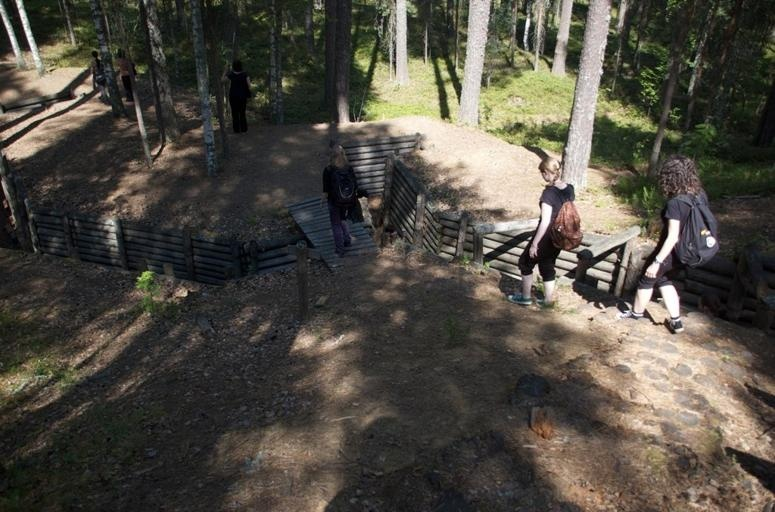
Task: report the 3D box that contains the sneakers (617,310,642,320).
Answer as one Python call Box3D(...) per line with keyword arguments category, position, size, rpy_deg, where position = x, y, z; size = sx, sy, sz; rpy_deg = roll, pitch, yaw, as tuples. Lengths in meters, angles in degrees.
Box3D(category="sneakers", position=(5.369, 1.299, 12.197), size=(0.543, 0.217, 0.213), rpy_deg=(-1, 21, 17))

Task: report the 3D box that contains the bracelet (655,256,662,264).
Box3D(category="bracelet", position=(5.524, 0.091, 11.135), size=(0.132, 0.074, 0.099), rpy_deg=(29, -9, -25))

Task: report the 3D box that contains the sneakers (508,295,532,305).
Box3D(category="sneakers", position=(3.134, 1.004, 13.007), size=(0.550, 0.226, 0.222), rpy_deg=(13, 24, 29))

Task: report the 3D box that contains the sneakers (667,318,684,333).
Box3D(category="sneakers", position=(6.158, 1.486, 11.707), size=(0.184, 0.241, 0.517), rpy_deg=(-10, 19, 13))

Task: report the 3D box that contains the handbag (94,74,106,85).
Box3D(category="handbag", position=(-12.295, -7.690, 23.488), size=(0.396, 0.467, 0.633), rpy_deg=(-2, 1, -39))
